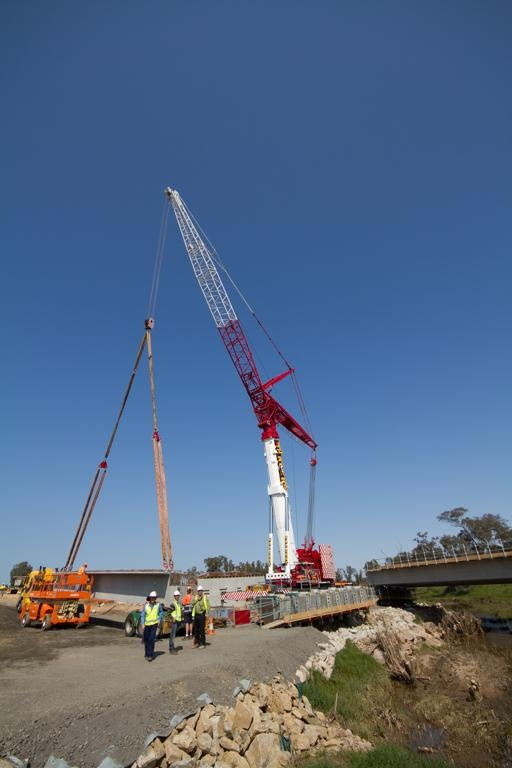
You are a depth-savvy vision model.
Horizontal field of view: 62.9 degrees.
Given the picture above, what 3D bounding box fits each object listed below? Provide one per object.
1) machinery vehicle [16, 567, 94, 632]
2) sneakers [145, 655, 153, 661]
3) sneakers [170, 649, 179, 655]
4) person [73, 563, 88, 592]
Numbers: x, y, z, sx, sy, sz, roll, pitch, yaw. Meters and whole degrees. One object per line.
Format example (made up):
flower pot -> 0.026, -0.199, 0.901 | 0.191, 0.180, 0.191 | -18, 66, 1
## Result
machinery vehicle -> -10.344, 10.858, 20.712 | 4.630, 2.536, 1.669 | -16, -24, 35
sneakers -> -2.802, 7.312, 10.894 | 0.204, 0.079, 0.221 | -8, 1, 13
sneakers -> -2.346, 7.891, 12.020 | 0.256, 0.126, 0.097 | -12, -17, 23
person -> -8.204, 9.329, 19.661 | 0.728, 1.191, 1.767 | 2, -20, -18
